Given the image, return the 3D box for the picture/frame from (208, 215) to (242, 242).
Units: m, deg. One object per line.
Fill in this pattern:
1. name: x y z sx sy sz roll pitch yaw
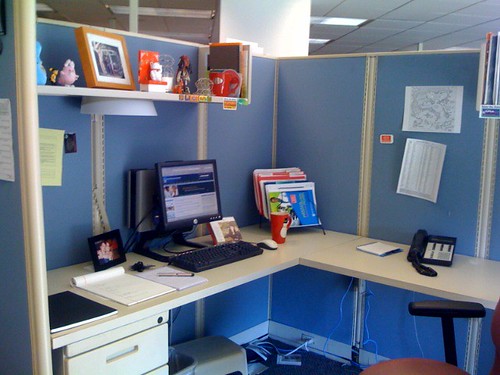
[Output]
1. picture/frame: -0.147 0.243 2.256 0.157 0.138 0.035 -6 -14 -43

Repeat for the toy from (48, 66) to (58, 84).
1. toy: -0.846 -0.479 1.724 0.045 0.077 0.083 -7 10 -24

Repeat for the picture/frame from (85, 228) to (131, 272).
1. picture/frame: -0.671 0.292 1.850 0.052 0.155 0.161 -16 1 36

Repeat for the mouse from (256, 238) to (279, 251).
1. mouse: 0.099 0.313 2.161 0.050 0.029 0.091 -3 1 -42

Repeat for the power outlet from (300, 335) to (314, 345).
1. power outlet: 0.392 1.042 2.738 0.015 0.056 0.062 1 2 -45

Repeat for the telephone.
1. telephone: 0.942 0.331 2.068 0.166 0.060 0.291 2 20 24

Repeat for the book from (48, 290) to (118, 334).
1. book: -0.621 0.432 1.453 0.220 0.033 0.295 -8 11 -31

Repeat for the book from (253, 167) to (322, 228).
1. book: 0.204 0.064 2.647 0.469 0.487 0.366 -5 -7 -18

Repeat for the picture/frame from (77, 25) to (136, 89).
1. picture/frame: -0.634 -0.564 1.772 0.117 0.258 0.232 4 12 36

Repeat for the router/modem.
1. router/modem: -0.536 0.057 2.003 0.178 0.305 0.320 1 3 17

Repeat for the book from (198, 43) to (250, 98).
1. book: -0.079 -0.636 2.253 0.294 0.386 0.273 3 12 16
